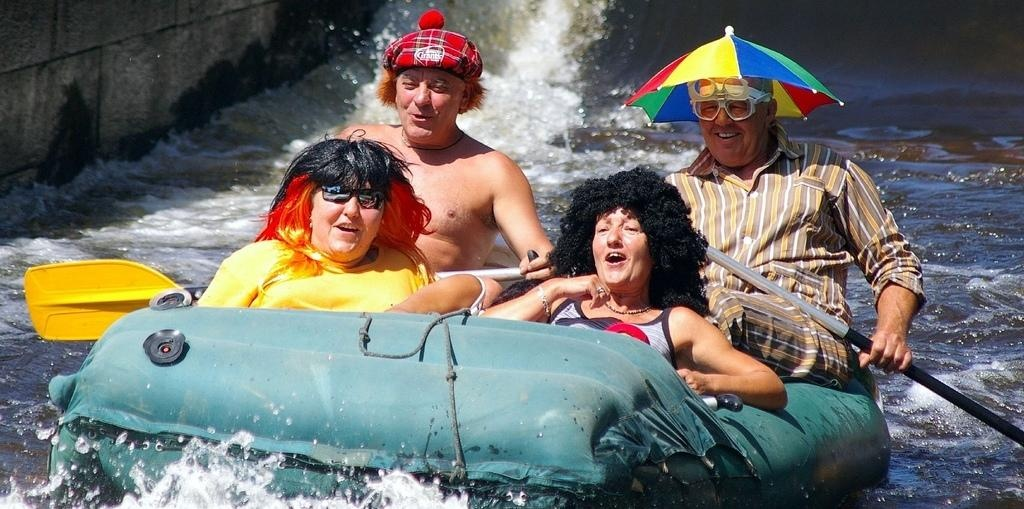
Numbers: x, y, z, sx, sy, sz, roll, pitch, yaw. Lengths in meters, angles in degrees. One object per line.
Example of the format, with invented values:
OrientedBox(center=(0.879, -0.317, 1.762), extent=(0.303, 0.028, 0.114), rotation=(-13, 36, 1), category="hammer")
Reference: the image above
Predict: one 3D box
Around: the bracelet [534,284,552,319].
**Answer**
OrientedBox(center=(0.321, 0.430, 12.995), extent=(0.086, 0.313, 0.085), rotation=(-20, 5, 16), category="bracelet")
